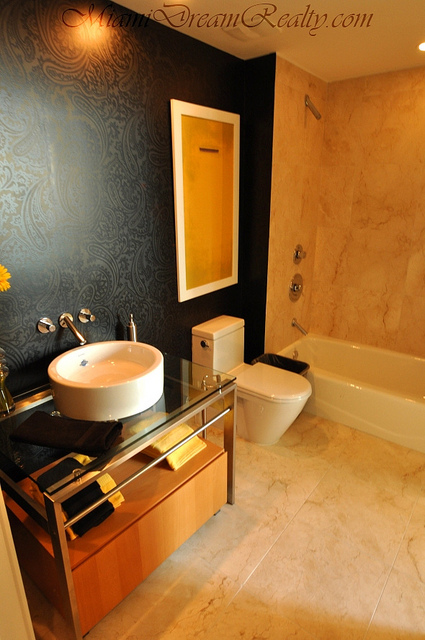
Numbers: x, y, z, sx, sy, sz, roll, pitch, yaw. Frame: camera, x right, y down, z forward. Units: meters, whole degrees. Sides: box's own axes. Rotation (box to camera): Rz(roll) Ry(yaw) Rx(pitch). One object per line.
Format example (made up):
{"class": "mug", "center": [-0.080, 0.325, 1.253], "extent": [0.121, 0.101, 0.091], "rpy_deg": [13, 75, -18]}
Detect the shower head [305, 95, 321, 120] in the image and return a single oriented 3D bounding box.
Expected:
{"class": "shower head", "center": [0.646, -1.346, 2.803], "extent": [0.046, 0.051, 0.200], "rpy_deg": [-14, -36, 20]}

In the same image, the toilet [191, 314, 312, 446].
{"class": "toilet", "center": [0.198, 0.340, 2.519], "extent": [0.675, 0.767, 0.303], "rpy_deg": [14, 22, 35]}

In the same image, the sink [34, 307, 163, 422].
{"class": "sink", "center": [-0.408, 0.128, 1.537], "extent": [0.357, 0.266, 0.476], "rpy_deg": [-19, 24, -40]}

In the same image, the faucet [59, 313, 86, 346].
{"class": "faucet", "center": [-0.563, 0.036, 1.743], "extent": [0.049, 0.072, 0.126], "rpy_deg": [-11, 43, -43]}
